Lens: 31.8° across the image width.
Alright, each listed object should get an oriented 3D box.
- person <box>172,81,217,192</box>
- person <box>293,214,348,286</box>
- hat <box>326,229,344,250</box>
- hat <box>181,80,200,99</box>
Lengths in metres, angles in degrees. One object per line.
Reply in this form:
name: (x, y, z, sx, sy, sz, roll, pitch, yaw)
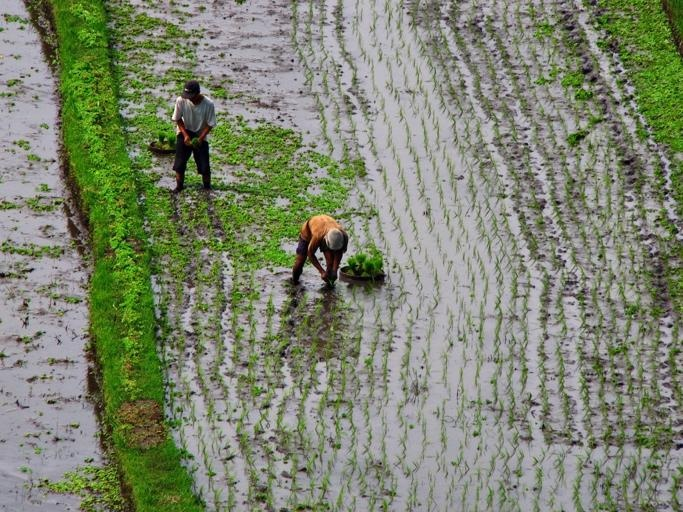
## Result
person: (-2.348, -1.870, 19.254, 0.656, 1.923, 0.634, 5, 21, -1)
person: (-0.302, -0.024, 17.763, 0.395, 0.970, 0.767, -10, 54, -12)
hat: (-0.085, -0.225, 17.221, 0.256, 0.331, 0.286, 0, 81, -4)
hat: (-2.364, -2.603, 18.924, 0.293, 0.195, 0.287, -10, 82, -5)
